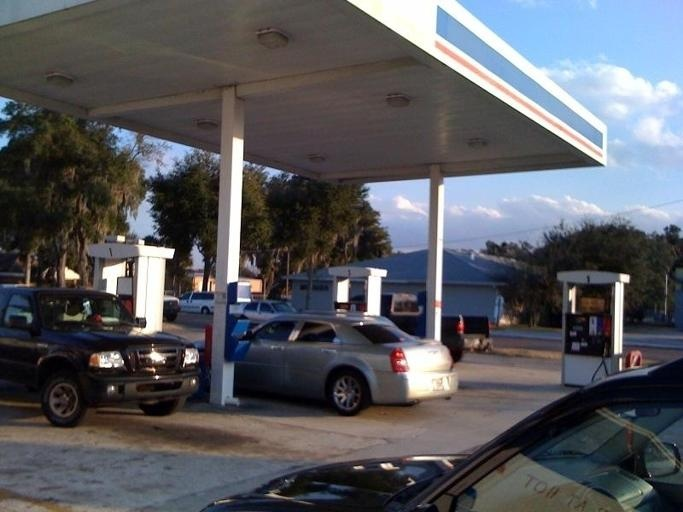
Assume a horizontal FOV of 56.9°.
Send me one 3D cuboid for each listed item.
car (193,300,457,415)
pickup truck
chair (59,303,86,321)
[{"bbox_3d":[-0.245,1.551,11.280,4.058,1.471,1.842,4,0,35],"label":"car"},{"bbox_3d":[2.194,2.120,18.395,3.969,1.773,1.930,2,-1,28],"label":"pickup truck"},{"bbox_3d":[-4.138,0.879,9.752,0.234,0.343,0.267,-3,-15,15],"label":"chair"}]
